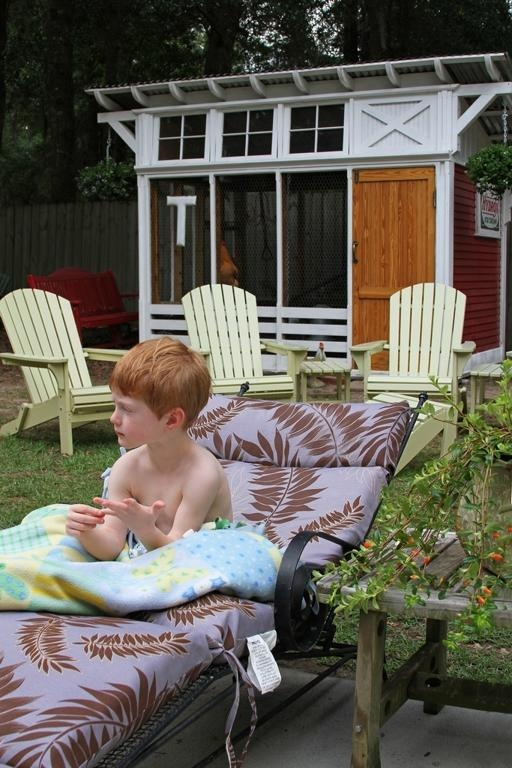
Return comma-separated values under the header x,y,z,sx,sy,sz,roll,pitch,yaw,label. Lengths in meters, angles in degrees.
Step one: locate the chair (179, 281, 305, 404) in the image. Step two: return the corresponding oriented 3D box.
x,y,z,sx,sy,sz,roll,pitch,yaw,label
-0.129,-0.329,6.040,0.909,1.041,1.126,-7,23,-25,chair
